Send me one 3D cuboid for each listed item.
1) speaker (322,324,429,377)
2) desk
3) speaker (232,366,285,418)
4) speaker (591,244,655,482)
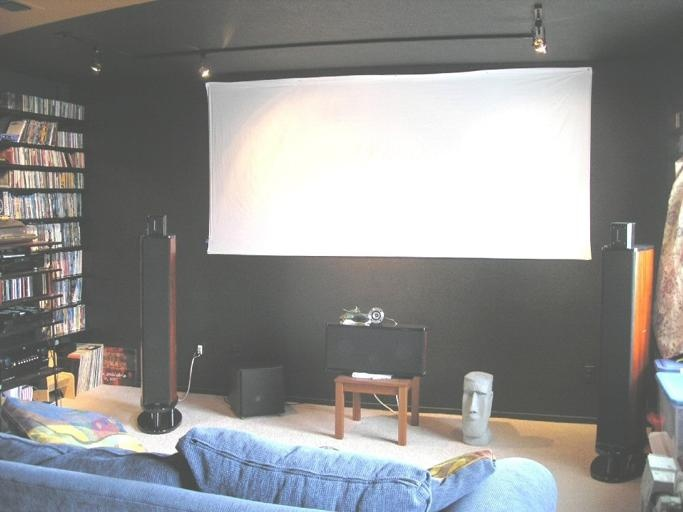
[{"bbox_3d":[0.305,0.783,4.910,0.893,0.470,0.308,2,18,7],"label":"speaker"},{"bbox_3d":[0.326,1.276,4.809,0.557,0.505,0.584,-1,-6,18],"label":"desk"},{"bbox_3d":[-0.761,1.239,5.199,0.552,0.451,0.534,-2,3,-39],"label":"speaker"},{"bbox_3d":[2.147,0.783,4.118,0.657,1.707,0.290,-1,2,-26],"label":"speaker"}]
